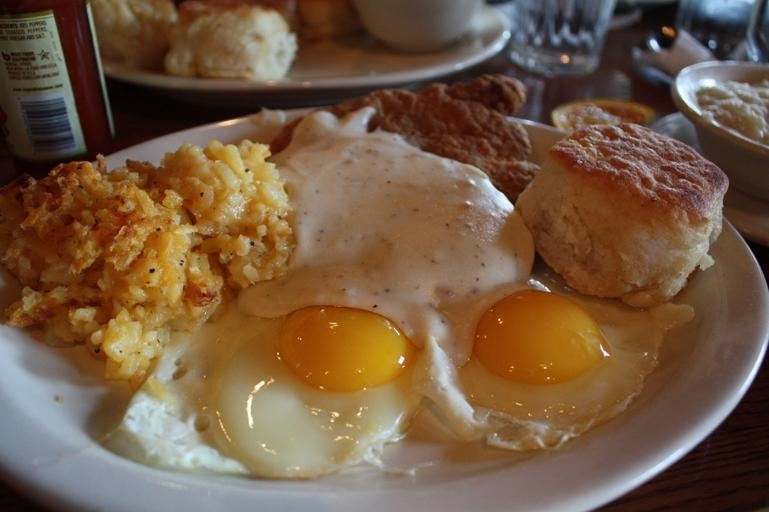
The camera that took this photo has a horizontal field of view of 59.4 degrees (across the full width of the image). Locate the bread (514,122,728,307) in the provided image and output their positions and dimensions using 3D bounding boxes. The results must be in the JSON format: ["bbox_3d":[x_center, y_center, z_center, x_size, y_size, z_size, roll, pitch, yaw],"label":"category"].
[{"bbox_3d":[0.551,-0.093,1.577,0.412,0.247,0.424,25,39,24],"label":"bread"}]

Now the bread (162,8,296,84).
[{"bbox_3d":[-0.475,-0.631,2.034,0.377,0.177,0.170,-13,48,-14],"label":"bread"}]
